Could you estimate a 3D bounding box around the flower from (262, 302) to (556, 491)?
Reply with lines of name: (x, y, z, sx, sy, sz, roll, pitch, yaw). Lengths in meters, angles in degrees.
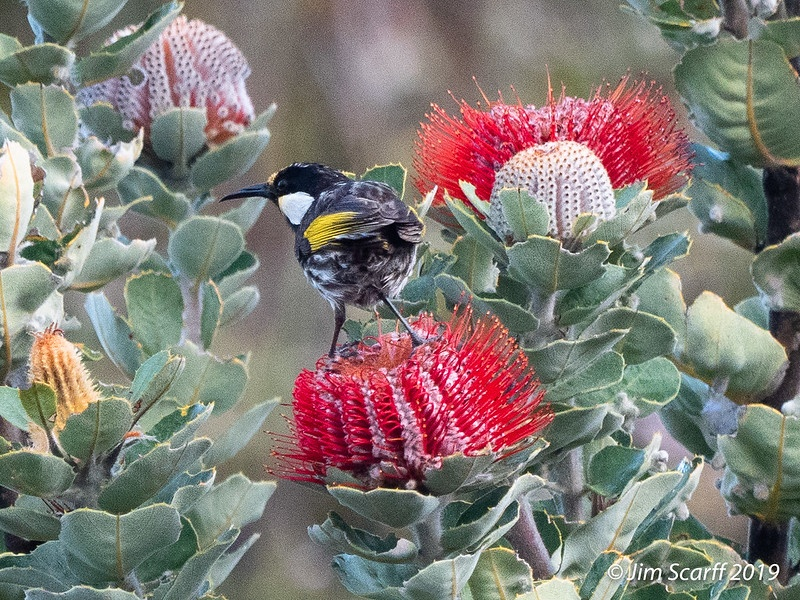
flower: (0.022, 0.159, 2.430, 0.410, 0.253, 0.314, 4, 29, -4)

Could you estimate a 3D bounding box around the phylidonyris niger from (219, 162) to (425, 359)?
phylidonyris niger: (-0.112, -0.081, 3.053, 0.201, 0.367, 0.487, -2, -3, -32)

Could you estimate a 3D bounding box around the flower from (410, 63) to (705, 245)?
flower: (0.248, -0.200, 2.590, 0.458, 0.262, 0.365, 7, 29, 1)
